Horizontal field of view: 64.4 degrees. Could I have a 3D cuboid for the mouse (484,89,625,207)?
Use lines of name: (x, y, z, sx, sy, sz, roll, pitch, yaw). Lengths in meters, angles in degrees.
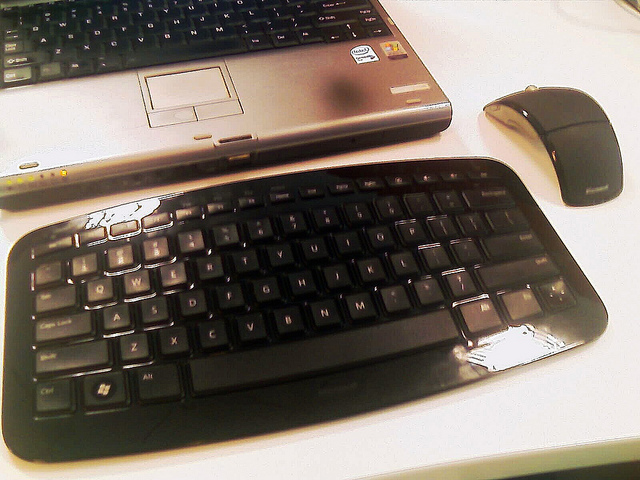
mouse: (0.280, -0.139, 0.608, 0.108, 0.064, 0.209, -12, 45, -8)
